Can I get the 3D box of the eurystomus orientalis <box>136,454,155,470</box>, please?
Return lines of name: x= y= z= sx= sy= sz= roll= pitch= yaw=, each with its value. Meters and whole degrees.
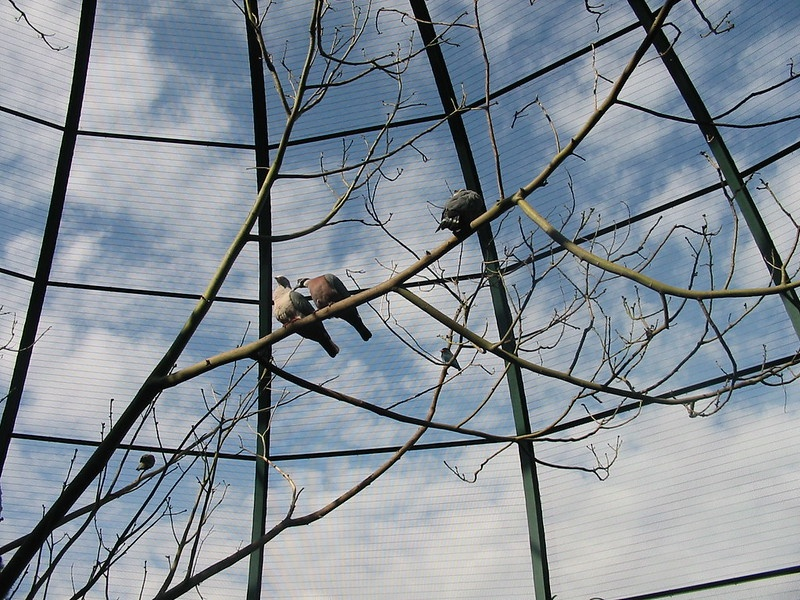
eurystomus orientalis: x=-3.652 y=2.343 z=17.947 sx=0.185 sy=0.433 sz=0.142 roll=-38 pitch=-90 yaw=-1

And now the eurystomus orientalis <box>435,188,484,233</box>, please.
eurystomus orientalis: x=0.901 y=-1.256 z=18.076 sx=0.838 sy=0.501 sz=0.461 roll=-38 pitch=-72 yaw=-38
